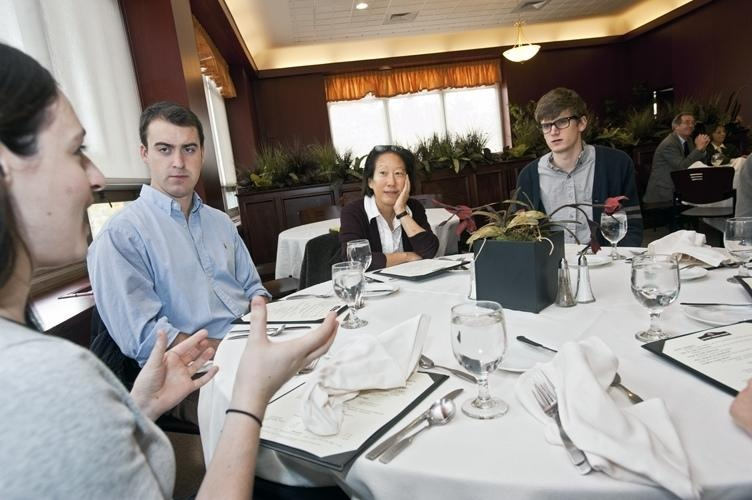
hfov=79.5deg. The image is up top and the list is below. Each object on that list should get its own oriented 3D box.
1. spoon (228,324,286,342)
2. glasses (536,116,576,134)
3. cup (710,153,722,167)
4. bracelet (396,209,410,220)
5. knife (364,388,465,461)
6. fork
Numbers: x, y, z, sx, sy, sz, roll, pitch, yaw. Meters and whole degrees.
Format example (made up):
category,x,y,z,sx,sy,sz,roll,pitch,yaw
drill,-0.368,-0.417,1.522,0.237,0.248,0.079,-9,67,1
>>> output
category,x,y,z,sx,sy,sz,roll,pitch,yaw
spoon,-0.374,0.259,1.428,0.173,0.029,0.099,0,18,-2
glasses,1.114,-0.757,2.733,0.212,0.080,0.097,-1,13,24
cup,4.144,-1.090,5.486,0.101,0.140,0.310,3,15,36
bracelet,0.151,-0.197,2.547,0.059,0.045,0.066,-14,-23,-37
knife,0.087,0.362,0.938,0.070,0.036,0.303,-7,17,40
fork,0.365,0.341,0.889,0.029,0.021,0.176,-32,25,8
